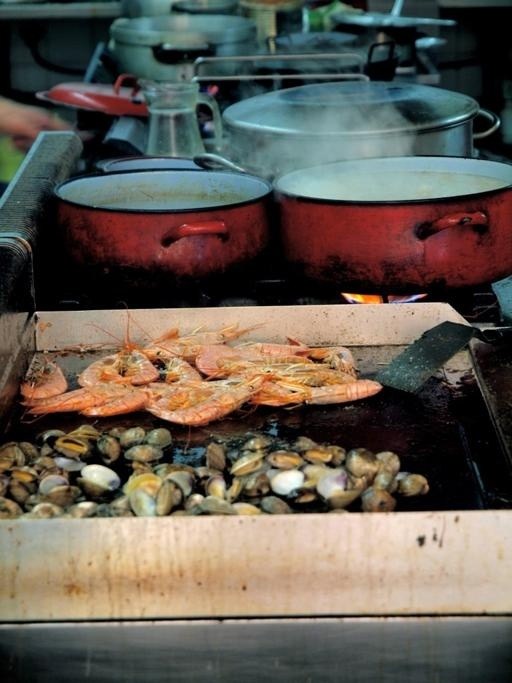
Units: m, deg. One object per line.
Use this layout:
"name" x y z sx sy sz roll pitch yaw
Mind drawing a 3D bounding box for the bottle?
"bottle" -0.229 -0.642 2.052 0.386 0.288 0.210 -1 28 -6

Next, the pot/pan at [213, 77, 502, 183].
"pot/pan" 0.275 -0.651 2.089 0.996 0.283 0.669 1 24 10

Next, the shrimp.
"shrimp" -0.130 0.062 1.371 0.623 0.082 0.348 -12 36 -14
